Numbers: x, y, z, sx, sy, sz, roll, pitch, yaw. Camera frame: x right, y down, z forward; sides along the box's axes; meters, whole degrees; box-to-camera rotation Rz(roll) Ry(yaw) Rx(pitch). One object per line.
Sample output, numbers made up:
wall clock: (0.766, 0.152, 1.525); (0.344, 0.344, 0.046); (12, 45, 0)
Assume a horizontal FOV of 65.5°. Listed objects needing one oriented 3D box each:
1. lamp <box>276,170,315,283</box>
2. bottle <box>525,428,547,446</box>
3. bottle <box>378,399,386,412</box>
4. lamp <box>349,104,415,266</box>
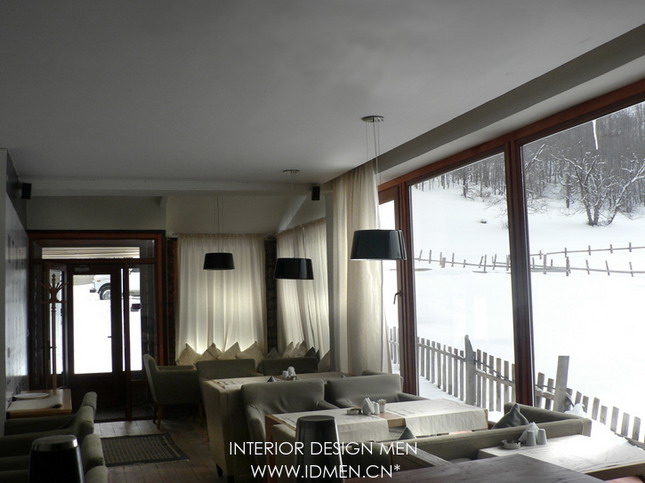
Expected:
lamp: (-0.324, -0.150, 6.369); (0.570, 1.243, 1.286); (0, -7, 0)
bottle: (1.386, 1.264, 3.246); (0.154, 0.095, 0.057); (3, -7, -21)
bottle: (0.517, 1.376, 4.235); (0.096, 0.124, 0.097); (1, -4, 0)
lamp: (0.502, -0.388, 4.608); (0.440, 1.199, 1.193); (-1, -7, 5)
